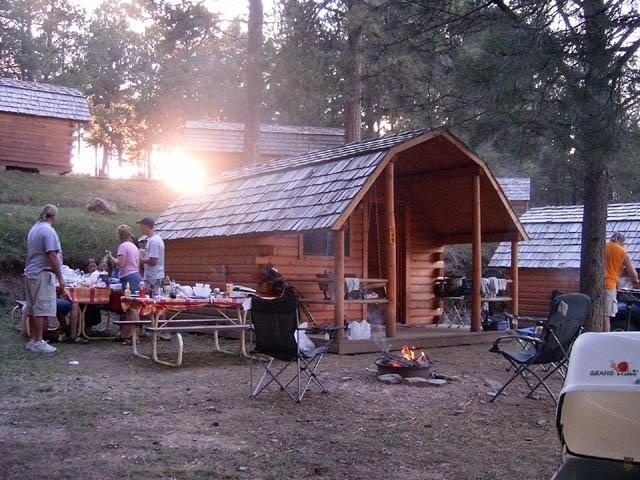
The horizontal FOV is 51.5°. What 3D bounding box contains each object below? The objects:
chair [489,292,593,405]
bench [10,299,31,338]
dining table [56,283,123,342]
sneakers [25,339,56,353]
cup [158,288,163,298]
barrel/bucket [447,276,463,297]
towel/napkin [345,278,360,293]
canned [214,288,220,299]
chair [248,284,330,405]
[{"bbox_3d":[3.416,1.659,10.157,1.274,1.798,1.266,1,1,41],"label":"chair"},{"bbox_3d":[-6.466,1.762,14.378,0.783,0.874,0.312,3,0,42],"label":"bench"},{"bbox_3d":[-4.958,1.392,13.820,0.963,1.215,1.535,3,9,-30],"label":"dining table"},{"bbox_3d":[-5.025,1.929,12.025,0.561,0.259,0.220,3,-2,-8],"label":"sneakers"},{"bbox_3d":[-2.952,1.012,12.357,0.140,0.176,0.139,-1,-3,0],"label":"cup"},{"bbox_3d":[3.413,1.175,16.487,0.349,0.470,0.825,2,4,12],"label":"barrel/bucket"},{"bbox_3d":[0.729,0.996,14.058,0.268,0.203,0.265,8,-9,-38],"label":"towel/napkin"},{"bbox_3d":[-2.036,1.090,13.212,0.120,0.254,0.125,1,-1,-20],"label":"canned"},{"bbox_3d":[-0.491,1.636,10.128,0.907,1.714,1.014,0,2,23],"label":"chair"}]
